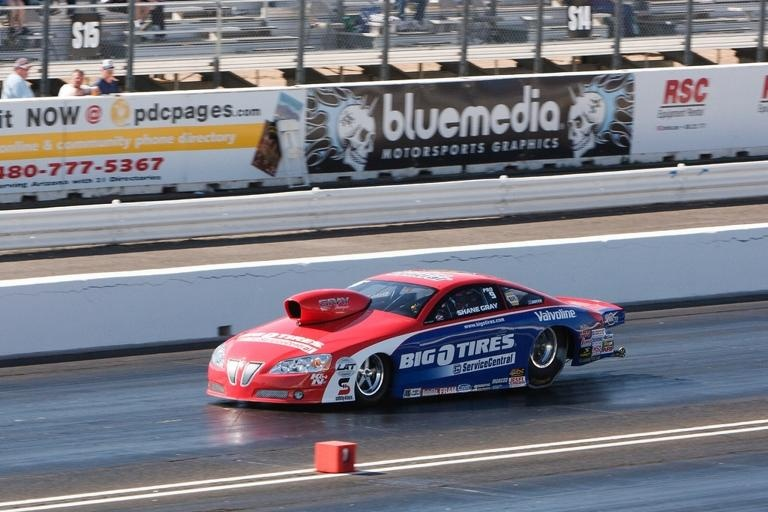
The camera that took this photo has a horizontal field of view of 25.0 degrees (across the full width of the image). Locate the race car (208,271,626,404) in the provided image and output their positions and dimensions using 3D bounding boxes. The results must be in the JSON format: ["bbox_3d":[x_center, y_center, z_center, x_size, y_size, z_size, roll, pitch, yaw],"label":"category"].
[{"bbox_3d":[0.490,1.112,26.753,6.180,1.234,3.022,-7,13,-33],"label":"race car"}]
